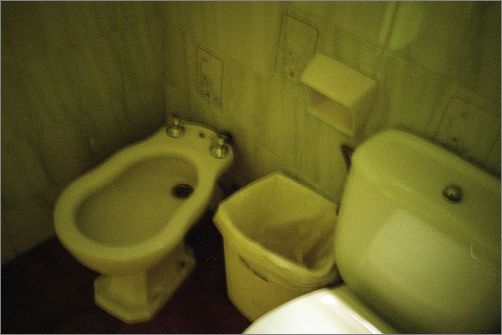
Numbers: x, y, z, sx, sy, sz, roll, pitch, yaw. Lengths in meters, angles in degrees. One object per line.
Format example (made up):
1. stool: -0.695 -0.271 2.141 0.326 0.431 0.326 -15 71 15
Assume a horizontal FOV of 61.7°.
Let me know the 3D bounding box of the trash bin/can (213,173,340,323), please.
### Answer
1. trash bin/can: 0.114 0.308 1.655 0.351 0.437 0.412 -28 47 -25

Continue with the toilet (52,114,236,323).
1. toilet: -0.469 0.267 1.962 0.536 0.707 0.876 24 39 16
